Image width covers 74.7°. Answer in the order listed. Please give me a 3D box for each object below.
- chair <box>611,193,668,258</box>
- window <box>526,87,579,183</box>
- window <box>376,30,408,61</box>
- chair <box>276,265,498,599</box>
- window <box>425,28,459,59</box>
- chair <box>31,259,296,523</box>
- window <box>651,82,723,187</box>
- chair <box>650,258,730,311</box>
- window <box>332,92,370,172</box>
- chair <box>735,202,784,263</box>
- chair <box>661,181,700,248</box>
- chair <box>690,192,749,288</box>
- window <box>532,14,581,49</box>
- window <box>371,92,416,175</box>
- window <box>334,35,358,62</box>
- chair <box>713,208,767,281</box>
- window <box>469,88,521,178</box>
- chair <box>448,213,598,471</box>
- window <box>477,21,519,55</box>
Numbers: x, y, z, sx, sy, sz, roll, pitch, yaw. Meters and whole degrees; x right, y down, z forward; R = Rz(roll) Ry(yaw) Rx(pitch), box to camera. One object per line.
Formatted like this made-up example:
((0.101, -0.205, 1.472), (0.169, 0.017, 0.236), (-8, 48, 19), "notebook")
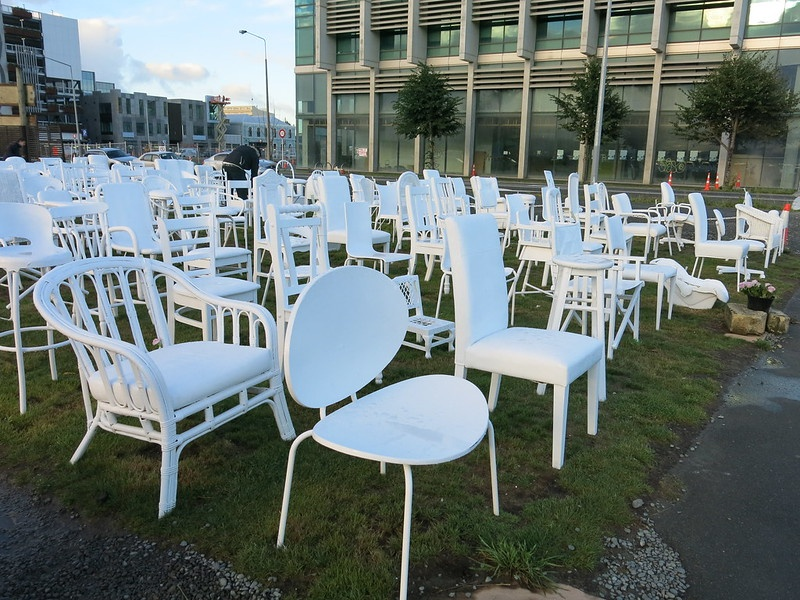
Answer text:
((4.355, -1.394, 9.550), (0.918, 1.080, 0.949), (0, 14, 9), "chair")
((8.746, -9.130, 29.083), (3.412, 6.875, 0.355), (8, 58, 17), "window")
((-0.448, -16.135, 33.074), (1.827, 2.239, 0.976), (5, 13, 18), "window")
((-0.081, 0.753, 2.833), (0.899, 1.685, 1.101), (11, 21, 37), "chair")
((2.678, -15.716, 31.929), (2.055, 1.704, 0.154), (10, 16, 37), "window")
((-1.450, 0.407, 3.213), (1.276, 1.236, 1.272), (4, 13, 6), "chair")
((14.548, -8.033, 26.153), (3.212, 6.487, 0.558), (12, 57, 30), "window")
((4.029, -0.202, 7.050), (0.564, 0.554, 0.826), (-14, 12, -19), "chair")
((-3.080, -11.112, 35.171), (2.695, 5.578, 0.188), (1, -7, -5), "window")
((6.751, -1.233, 9.856), (0.814, 1.072, 0.696), (-11, 16, -36), "chair")
((6.055, -1.841, 11.289), (0.792, 1.304, 0.887), (-2, 11, -12), "chair")
((4.960, -0.969, 8.088), (0.886, 1.440, 0.802), (3, 15, 31), "chair")
((8.672, -14.702, 28.548), (1.895, 1.539, 0.073), (10, 17, 36), "window")
((-0.180, -10.637, 33.393), (3.023, 0.437, 6.589), (1, -32, -2), "window")
((-3.492, -16.537, 34.267), (1.423, 1.594, 0.799), (6, 18, 17), "window")
((5.881, -0.982, 9.036), (0.801, 1.169, 0.746), (5, 7, 36), "chair")
((5.883, -9.742, 31.252), (3.283, 6.917, 0.561), (4, -21, 8), "window")
((0.820, 0.196, 3.521), (0.876, 1.521, 0.795), (4, 11, 35), "chair")
((5.778, -15.123, 30.161), (0.096, 2.026, 2.546), (-7, 5, -43), "window")
